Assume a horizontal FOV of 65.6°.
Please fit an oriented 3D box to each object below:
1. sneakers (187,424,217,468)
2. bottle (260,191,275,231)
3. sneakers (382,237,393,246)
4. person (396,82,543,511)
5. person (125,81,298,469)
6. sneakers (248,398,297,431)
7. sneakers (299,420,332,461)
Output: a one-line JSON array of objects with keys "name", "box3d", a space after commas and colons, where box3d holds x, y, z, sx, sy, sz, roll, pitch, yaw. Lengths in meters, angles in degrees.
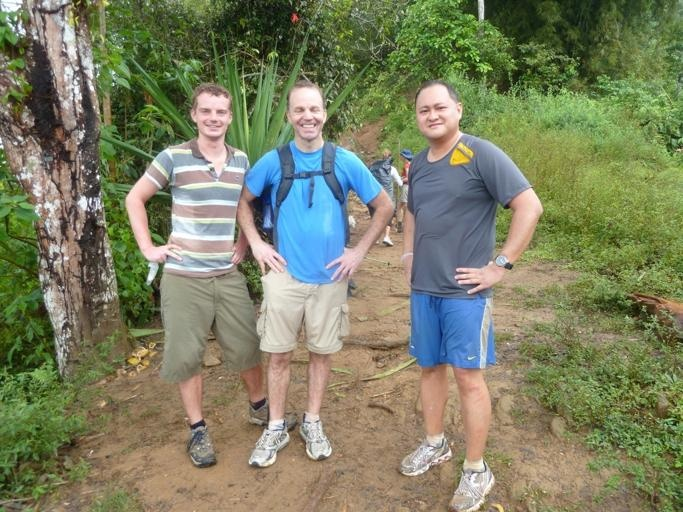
[{"name": "sneakers", "box3d": [-1.186, 1.518, 4.407, 0.225, 0.228, 0.490, 4, 15, -27]}, {"name": "bottle", "box3d": [-0.608, -0.388, 4.331, 0.149, 0.394, 0.285, -1, 5, -4]}, {"name": "sneakers", "box3d": [0.906, -0.291, 10.358, 0.094, 0.125, 0.267, 28, 5, 25]}, {"name": "person", "box3d": [0.826, 0.291, 3.950, 1.046, 3.019, 0.796, 14, 22, 30]}, {"name": "person", "box3d": [-1.121, 0.159, 4.249, 0.965, 2.928, 0.831, -7, 21, -25]}, {"name": "sneakers", "box3d": [-0.590, 1.399, 4.689, 0.552, 0.287, 0.194, 1, 4, 40]}, {"name": "sneakers", "box3d": [-0.230, 1.489, 4.451, 0.226, 0.196, 0.451, 2, 20, -23]}]
